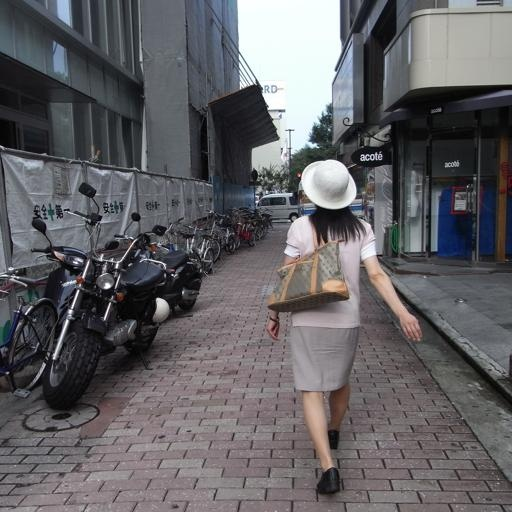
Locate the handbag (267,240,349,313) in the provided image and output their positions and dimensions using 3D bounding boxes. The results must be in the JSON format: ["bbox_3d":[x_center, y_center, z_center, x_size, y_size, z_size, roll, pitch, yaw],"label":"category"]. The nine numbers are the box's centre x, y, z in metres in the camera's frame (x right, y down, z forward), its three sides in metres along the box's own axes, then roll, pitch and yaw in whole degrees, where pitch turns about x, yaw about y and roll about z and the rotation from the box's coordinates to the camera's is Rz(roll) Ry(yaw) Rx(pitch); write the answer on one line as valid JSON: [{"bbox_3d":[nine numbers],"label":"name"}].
[{"bbox_3d":[0.238,0.111,2.088,0.406,0.350,0.208,-2,2,16],"label":"handbag"}]

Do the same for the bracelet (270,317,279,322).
[{"bbox_3d":[0.107,0.377,2.517,0.042,0.014,0.031,15,-2,-29],"label":"bracelet"}]

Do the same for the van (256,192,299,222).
[{"bbox_3d":[1.835,-4.193,36.687,3.449,2.153,2.216,1,3,4],"label":"van"}]

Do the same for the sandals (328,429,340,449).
[{"bbox_3d":[0.470,1.107,2.616,0.050,0.071,0.157,0,7,6],"label":"sandals"}]

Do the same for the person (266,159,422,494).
[{"bbox_3d":[0.429,0.326,2.272,0.738,1.751,0.790,-2,2,3],"label":"person"}]
